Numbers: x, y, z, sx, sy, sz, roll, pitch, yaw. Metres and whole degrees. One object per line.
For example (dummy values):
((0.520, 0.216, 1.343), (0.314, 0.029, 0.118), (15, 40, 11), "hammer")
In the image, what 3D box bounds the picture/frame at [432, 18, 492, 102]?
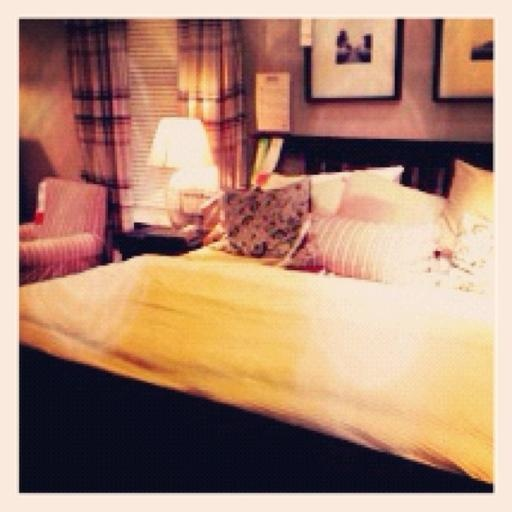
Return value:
((0.786, -0.744, 1.856), (0.254, 0.439, 0.039), (1, -2, 2), "picture/frame")

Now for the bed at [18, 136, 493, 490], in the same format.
((0.138, 0.179, 1.921), (1.559, 0.683, 1.731), (7, 3, 30), "bed")
